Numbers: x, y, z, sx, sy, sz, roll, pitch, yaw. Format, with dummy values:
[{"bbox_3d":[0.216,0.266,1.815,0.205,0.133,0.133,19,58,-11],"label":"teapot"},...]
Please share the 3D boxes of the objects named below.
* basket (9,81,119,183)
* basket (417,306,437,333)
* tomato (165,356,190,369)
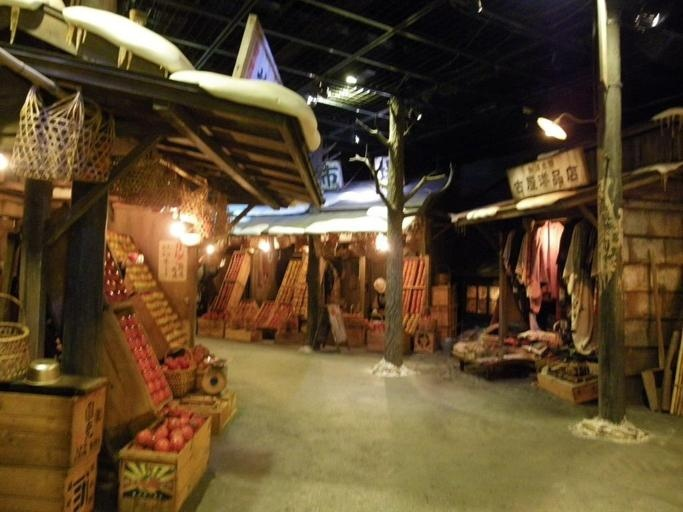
[{"bbox_3d":[-3.020,-1.303,5.957,1.040,0.985,0.600,-3,5,-40],"label":"basket"},{"bbox_3d":[2.505,1.813,15.800,0.554,0.611,0.502,-1,4,-25],"label":"basket"},{"bbox_3d":[-2.677,1.766,8.994,0.209,0.090,0.225,2,-4,27],"label":"tomato"}]
